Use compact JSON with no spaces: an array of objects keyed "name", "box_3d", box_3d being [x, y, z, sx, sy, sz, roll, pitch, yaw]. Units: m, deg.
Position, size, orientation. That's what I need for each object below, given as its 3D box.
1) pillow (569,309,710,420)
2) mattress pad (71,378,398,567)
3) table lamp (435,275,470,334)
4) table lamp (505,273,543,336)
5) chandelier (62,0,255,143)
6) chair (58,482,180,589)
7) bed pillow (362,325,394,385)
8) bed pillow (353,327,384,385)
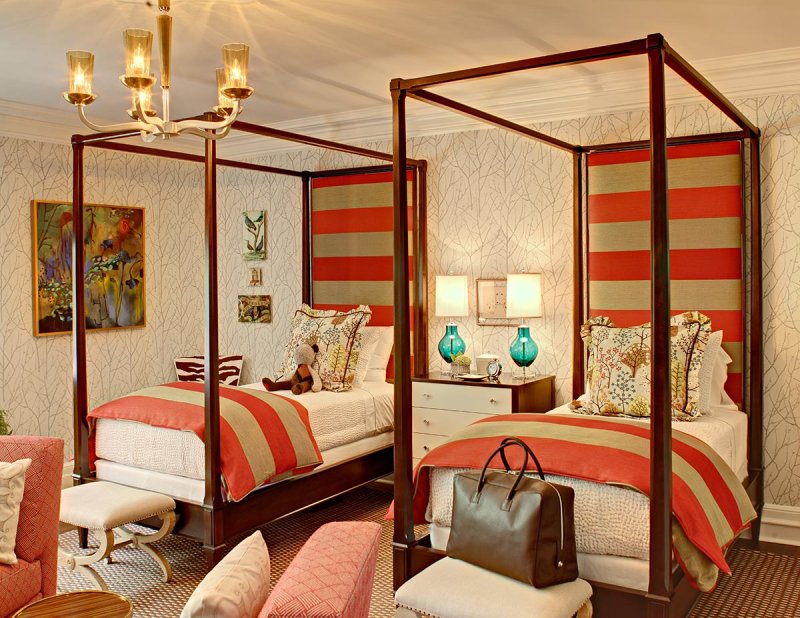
[{"name":"pillow","box_3d":[1.535,0.400,4.055,0.838,0.771,0.330,-3,-20,38]},{"name":"mattress pad","box_3d":[-1.153,0.828,4.955,1.933,1.084,2.249,-4,13,39]},{"name":"table lamp","box_3d":[0.407,-0.066,4.976,0.322,0.650,0.343,0,-1,17]},{"name":"table lamp","box_3d":[0.931,-0.057,4.692,0.331,0.599,0.352,0,-2,18]},{"name":"chandelier","box_3d":[-1.375,-1.390,3.534,0.854,0.918,0.859,0,-1,-39]},{"name":"chair","box_3d":[-1.766,1.385,3.775,0.574,0.566,0.598,3,-2,26]},{"name":"bed pillow","box_3d":[-0.169,0.397,5.286,0.357,0.405,0.152,6,-12,33]},{"name":"bed pillow","box_3d":[-0.258,0.378,5.067,0.103,0.371,0.369,12,-17,-12]}]
